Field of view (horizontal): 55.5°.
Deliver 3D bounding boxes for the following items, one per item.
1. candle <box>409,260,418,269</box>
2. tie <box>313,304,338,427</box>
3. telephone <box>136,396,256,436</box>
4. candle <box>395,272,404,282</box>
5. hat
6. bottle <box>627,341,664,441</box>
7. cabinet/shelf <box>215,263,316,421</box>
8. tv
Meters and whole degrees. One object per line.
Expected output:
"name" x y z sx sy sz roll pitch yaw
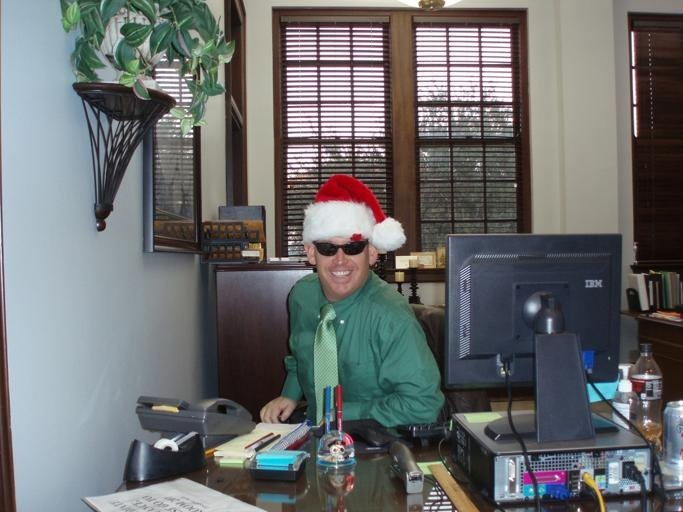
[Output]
"candle" 0.453 0.056 4.120 0.046 0.051 0.044 3 -5 -15
"tie" -0.062 0.377 2.253 0.068 0.356 0.160 3 5 -8
"telephone" -0.462 0.510 2.058 0.301 0.148 0.398 -3 -9 34
"candle" 0.374 0.137 4.196 0.055 0.072 0.059 -1 -2 15
"hat" 0.051 -0.186 2.551 0.343 0.309 0.276 4 -13 -3
"bottle" 0.950 0.416 2.006 0.086 0.300 0.130 3 7 5
"cabinet/shelf" -0.418 0.384 3.405 0.570 1.193 0.574 0 1 -28
"tv" 0.558 0.220 1.869 0.541 0.587 0.205 0 1 -5
